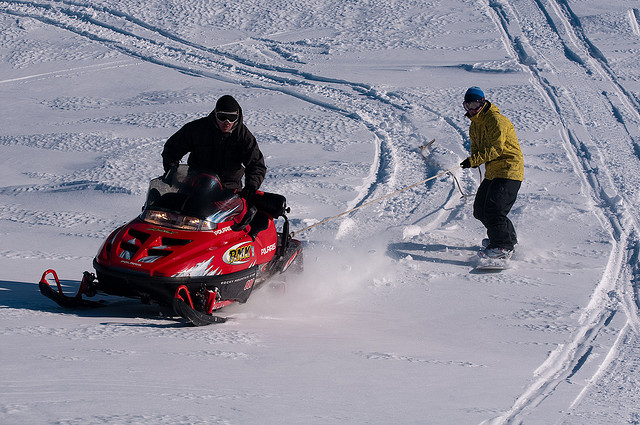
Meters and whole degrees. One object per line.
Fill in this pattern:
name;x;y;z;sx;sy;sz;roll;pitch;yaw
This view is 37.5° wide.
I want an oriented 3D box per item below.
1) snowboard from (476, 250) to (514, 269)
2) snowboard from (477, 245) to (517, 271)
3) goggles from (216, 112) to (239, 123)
snowboard;2.984;0.833;16.199;0.462;0.297;0.357;14;42;-1
snowboard;3.202;0.844;16.188;0.861;0.225;0.258;-14;66;-25
goggles;-1.471;-1.506;14.910;0.320;0.168;0.118;1;49;-15
